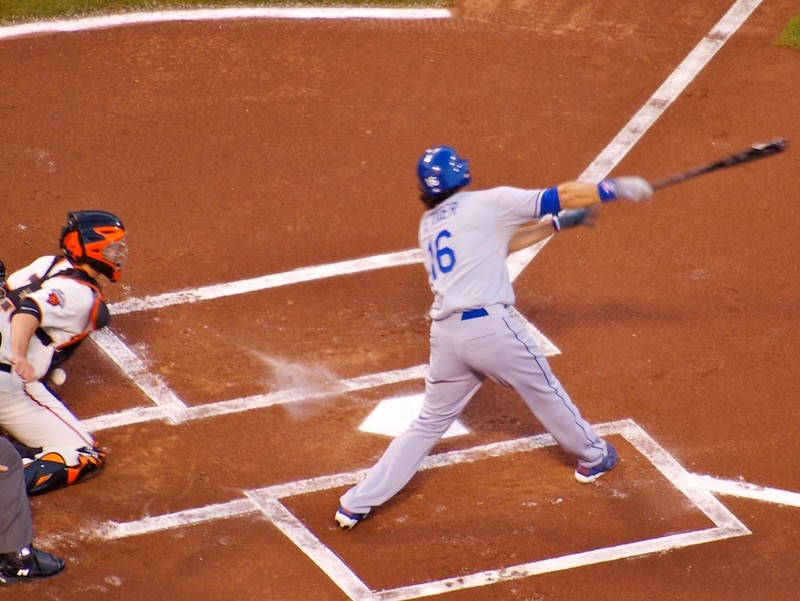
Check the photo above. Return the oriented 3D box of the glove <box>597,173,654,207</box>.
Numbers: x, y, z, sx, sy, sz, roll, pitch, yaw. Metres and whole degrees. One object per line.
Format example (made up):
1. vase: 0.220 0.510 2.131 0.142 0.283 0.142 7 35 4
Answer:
1. glove: 1.608 -0.785 9.083 0.410 0.243 0.269 -5 40 1

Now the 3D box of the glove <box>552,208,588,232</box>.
1. glove: 1.293 -0.616 9.564 0.229 0.098 0.125 -22 50 21

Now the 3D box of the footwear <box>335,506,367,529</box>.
1. footwear: -0.356 1.616 9.497 0.132 0.110 0.253 24 12 18

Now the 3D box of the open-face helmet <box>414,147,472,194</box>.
1. open-face helmet: 0.320 -0.930 9.262 0.434 0.312 0.310 -13 24 12
